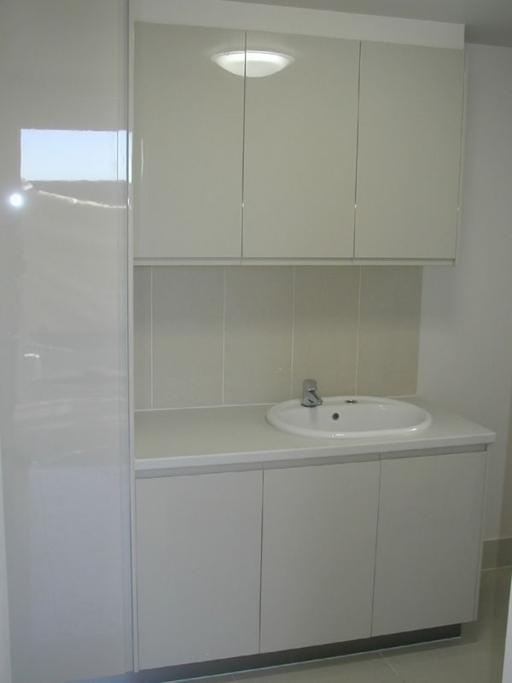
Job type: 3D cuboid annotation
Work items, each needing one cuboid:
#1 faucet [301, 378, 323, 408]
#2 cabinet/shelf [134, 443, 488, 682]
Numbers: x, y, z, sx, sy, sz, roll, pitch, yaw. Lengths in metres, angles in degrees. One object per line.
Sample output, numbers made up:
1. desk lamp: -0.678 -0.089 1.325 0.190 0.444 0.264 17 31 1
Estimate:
1. faucet: 0.192 0.184 2.074 0.074 0.083 0.123 -1 -89 -17
2. cabinet/shelf: 0.127 0.623 1.687 0.615 0.213 0.437 -1 -88 -10
